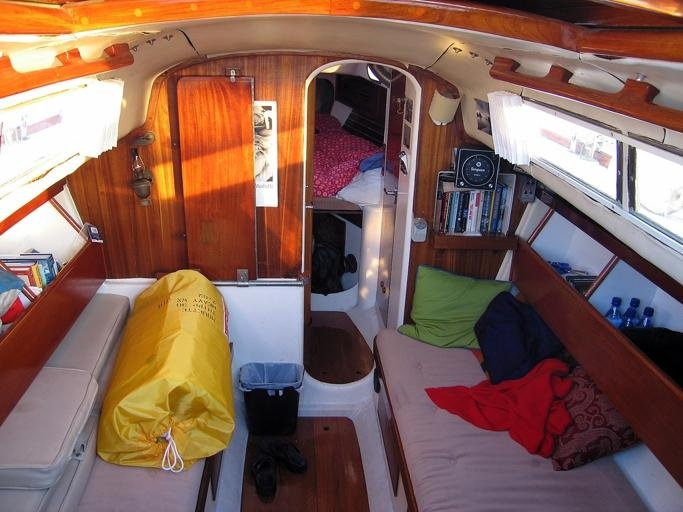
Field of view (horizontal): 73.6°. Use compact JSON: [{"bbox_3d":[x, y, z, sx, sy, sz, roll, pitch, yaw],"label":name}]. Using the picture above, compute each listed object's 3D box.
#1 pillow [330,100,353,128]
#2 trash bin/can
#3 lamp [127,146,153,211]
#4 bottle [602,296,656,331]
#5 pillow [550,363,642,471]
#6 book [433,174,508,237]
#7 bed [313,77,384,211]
[{"bbox_3d":[-0.008,-1.912,6.078,0.086,0.353,0.370,-5,36,-44],"label":"pillow"},{"bbox_3d":[-0.527,1.037,3.374,0.490,0.466,0.376,-1,25,-6],"label":"trash bin/can"},{"bbox_3d":[-1.277,-0.500,2.895,0.126,0.342,0.121,-1,24,-6],"label":"lamp"},{"bbox_3d":[1.491,0.306,2.393,0.173,0.172,0.179,-3,25,0],"label":"bottle"},{"bbox_3d":[1.273,0.865,2.343,0.407,0.130,0.430,-33,35,18],"label":"pillow"},{"bbox_3d":[0.899,-0.369,3.205,0.392,0.372,0.158,0,27,0],"label":"book"},{"bbox_3d":[0.082,-1.404,5.057,0.758,0.972,2.610,0,25,-3],"label":"bed"}]
